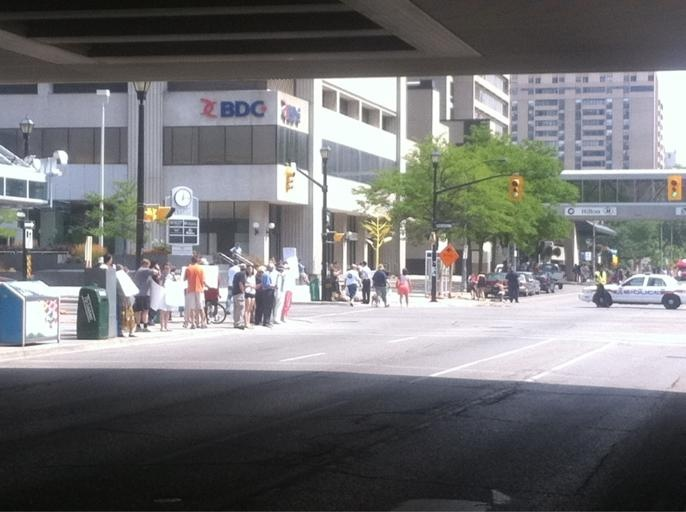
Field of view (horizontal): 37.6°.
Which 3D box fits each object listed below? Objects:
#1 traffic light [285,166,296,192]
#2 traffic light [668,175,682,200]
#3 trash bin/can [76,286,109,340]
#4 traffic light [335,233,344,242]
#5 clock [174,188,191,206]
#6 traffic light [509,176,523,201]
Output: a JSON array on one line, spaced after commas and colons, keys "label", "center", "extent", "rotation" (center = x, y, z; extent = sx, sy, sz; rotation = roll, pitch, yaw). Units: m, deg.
[{"label": "traffic light", "center": [-3.184, -4.449, 60.152], "extent": [0.487, 1.435, 1.283], "rotation": [0, -2, 1]}, {"label": "traffic light", "center": [17.033, -3.509, 51.979], "extent": [0.638, 1.326, 2.927], "rotation": [-1, -2, 17]}, {"label": "trash bin/can", "center": [-6.185, 1.479, 25.007], "extent": [0.734, 1.331, 0.776], "rotation": [0, -2, -15]}, {"label": "traffic light", "center": [-0.265, -1.166, 69.360], "extent": [0.646, 0.607, 1.065], "rotation": [0, -2, 0]}, {"label": "clock", "center": [-8.409, -2.958, 52.691], "extent": [0.823, 1.052, 0.251], "rotation": [0, -5, -9]}, {"label": "traffic light", "center": [8.766, -3.368, 51.212], "extent": [0.559, 1.240, 1.095], "rotation": [0, -2, 2]}]
